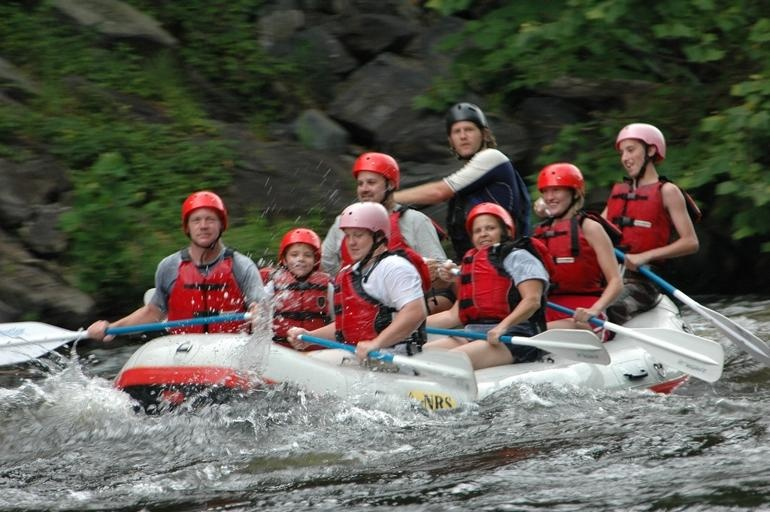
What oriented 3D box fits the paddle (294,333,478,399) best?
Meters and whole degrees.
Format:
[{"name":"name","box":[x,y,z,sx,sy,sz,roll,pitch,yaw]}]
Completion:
[{"name":"paddle","box":[-0.138,0.859,6.798,2.197,0.420,0.074,4,23,42]}]

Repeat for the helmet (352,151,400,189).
[{"name":"helmet","box":[-0.035,-0.788,7.410,0.512,0.280,0.354,3,-1,-32]}]

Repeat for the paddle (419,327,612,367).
[{"name":"paddle","box":[1.023,0.711,7.030,0.101,0.324,1.970,-34,22,-36]}]

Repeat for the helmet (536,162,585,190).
[{"name":"helmet","box":[1.608,-0.734,7.341,0.314,0.222,0.352,6,18,26]}]

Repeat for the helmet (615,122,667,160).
[{"name":"helmet","box":[2.500,-1.098,7.904,0.543,0.318,0.424,-20,15,-25]}]

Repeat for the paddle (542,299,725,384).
[{"name":"paddle","box":[2.401,0.767,6.881,2.010,0.291,0.094,12,8,16]}]

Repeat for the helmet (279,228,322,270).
[{"name":"helmet","box":[-0.767,-0.070,7.358,0.418,0.299,0.458,5,-12,-5]}]

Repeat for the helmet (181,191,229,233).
[{"name":"helmet","box":[-1.529,-0.417,6.876,0.452,0.426,0.404,-1,-2,-4]}]

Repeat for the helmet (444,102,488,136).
[{"name":"helmet","box":[0.766,-1.300,7.582,0.316,0.314,0.227,0,18,14]}]

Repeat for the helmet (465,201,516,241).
[{"name":"helmet","box":[0.898,-0.324,6.878,0.355,0.336,0.287,-8,-31,2]}]

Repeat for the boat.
[{"name":"boat","box":[0.203,0.951,6.463,3.448,0.473,1.453,5,-9,-24]}]

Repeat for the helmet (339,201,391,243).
[{"name":"helmet","box":[-0.148,-0.282,6.347,0.405,0.227,0.278,-12,9,-29]}]
